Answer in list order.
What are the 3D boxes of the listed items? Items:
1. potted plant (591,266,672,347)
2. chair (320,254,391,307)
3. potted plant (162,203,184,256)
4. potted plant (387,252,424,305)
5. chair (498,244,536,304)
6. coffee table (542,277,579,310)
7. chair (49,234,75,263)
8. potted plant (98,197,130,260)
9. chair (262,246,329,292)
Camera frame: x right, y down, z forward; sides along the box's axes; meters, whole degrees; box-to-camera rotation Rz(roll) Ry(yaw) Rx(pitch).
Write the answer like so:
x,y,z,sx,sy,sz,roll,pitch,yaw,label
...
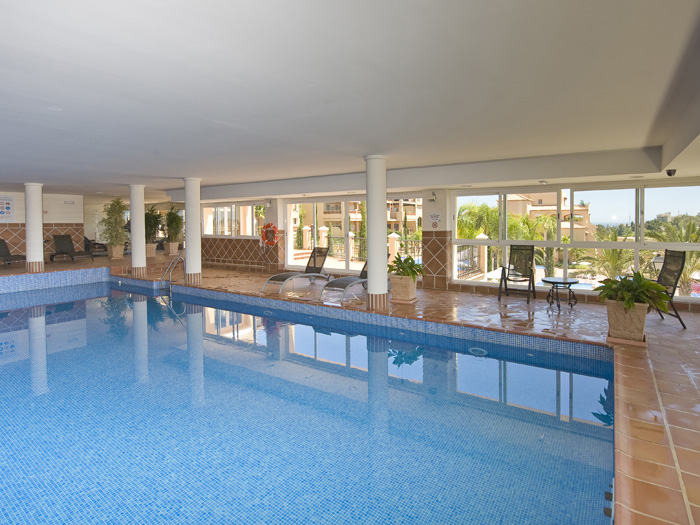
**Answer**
x,y,z,sx,sy,sz,roll,pitch,yaw,label
4.330,0.730,6.968,0.987,0.998,1.032,5,-3,-33,potted plant
0.027,0.429,10.631,0.511,0.796,1.664,11,17,29,chair
-8.340,-1.527,21.235,0.907,2.229,0.803,-5,10,-23,potted plant
1.034,0.326,10.124,0.972,1.288,1.077,1,1,32,potted plant
3.811,0.224,10.093,0.952,1.180,0.859,-3,5,-36,chair
4.593,0.600,9.707,0.749,0.556,0.757,0,1,17,coffee table
-11.817,-0.568,18.475,1.083,1.124,1.749,-4,8,-40,chair
-10.254,-1.465,19.514,0.992,2.611,2.444,-5,11,-27,potted plant
-1.362,0.174,12.050,1.738,1.022,1.131,-7,8,-32,chair
